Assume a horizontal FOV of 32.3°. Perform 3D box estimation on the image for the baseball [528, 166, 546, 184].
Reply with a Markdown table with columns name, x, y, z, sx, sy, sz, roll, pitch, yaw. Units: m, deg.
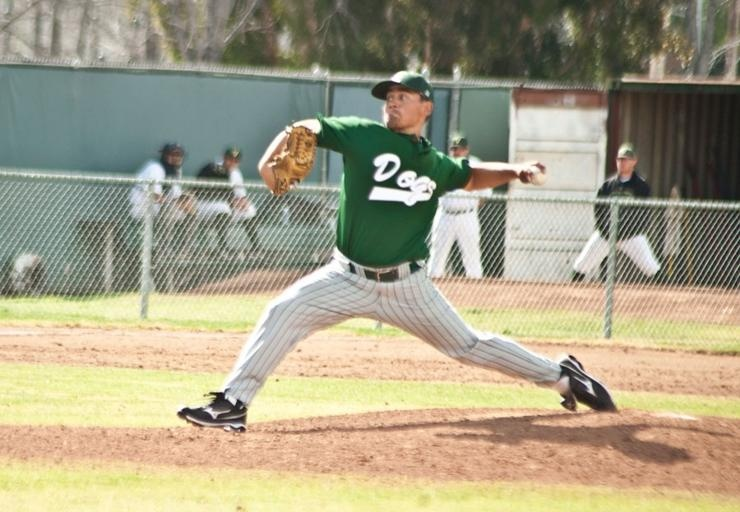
| name | x | y | z | sx | sy | sz | roll | pitch | yaw |
| --- | --- | --- | --- | --- | --- | --- | --- | --- | --- |
| baseball | 1.652 | -0.796 | 12.496 | 0.174 | 0.176 | 0.113 | -1 | 8 | -16 |

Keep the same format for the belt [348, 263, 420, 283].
| name | x | y | z | sx | sy | sz | roll | pitch | yaw |
| --- | --- | --- | --- | --- | --- | --- | --- | --- | --- |
| belt | 0.151 | 0.160 | 12.535 | 0.717 | 0.194 | 0.086 | 1 | 8 | -8 |

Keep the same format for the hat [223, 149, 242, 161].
| name | x | y | z | sx | sy | sz | roll | pitch | yaw |
| --- | --- | --- | --- | --- | --- | --- | --- | --- | --- |
| hat | -1.891 | -1.416 | 17.679 | 0.184 | 0.141 | 0.185 | -4 | 7 | -33 |

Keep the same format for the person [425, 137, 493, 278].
| name | x | y | z | sx | sy | sz | roll | pitch | yaw |
| --- | --- | --- | --- | --- | --- | --- | --- | --- | --- |
| person | 1.208 | -0.575 | 17.253 | 0.951 | 2.174 | 0.659 | 2 | 19 | 8 |

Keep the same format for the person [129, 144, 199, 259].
| name | x | y | z | sx | sy | sz | roll | pitch | yaw |
| --- | --- | --- | --- | --- | --- | --- | --- | --- | --- |
| person | -2.739 | -0.786 | 16.894 | 0.605 | 1.494 | 0.885 | 10 | -11 | -11 |

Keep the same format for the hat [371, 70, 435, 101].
| name | x | y | z | sx | sy | sz | roll | pitch | yaw |
| --- | --- | --- | --- | --- | --- | --- | --- | --- | --- |
| hat | 0.312 | -1.683 | 12.584 | 0.442 | 0.219 | 0.308 | 11 | 4 | -24 |
